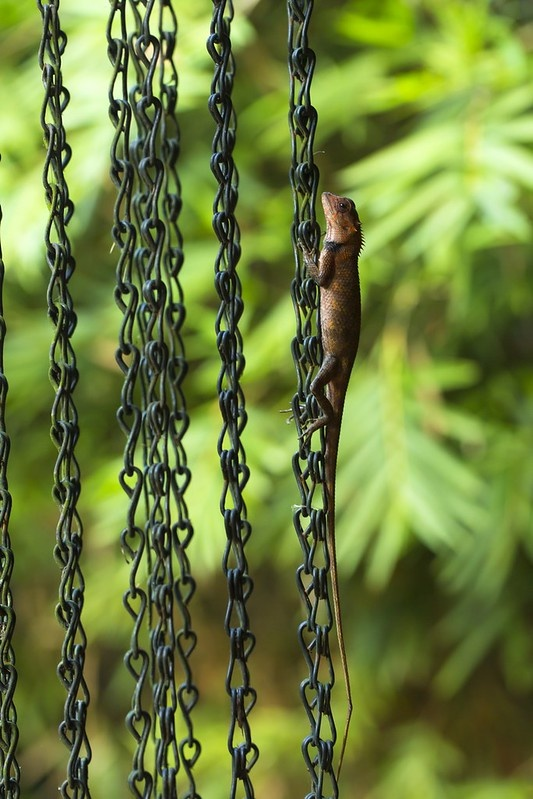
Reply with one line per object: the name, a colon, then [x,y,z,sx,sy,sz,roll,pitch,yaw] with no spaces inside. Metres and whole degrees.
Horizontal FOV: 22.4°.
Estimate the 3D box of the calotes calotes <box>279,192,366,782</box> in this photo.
calotes calotes: [0.185,0.151,2.776,0.125,1.214,0.146,-4,-9,-27]
